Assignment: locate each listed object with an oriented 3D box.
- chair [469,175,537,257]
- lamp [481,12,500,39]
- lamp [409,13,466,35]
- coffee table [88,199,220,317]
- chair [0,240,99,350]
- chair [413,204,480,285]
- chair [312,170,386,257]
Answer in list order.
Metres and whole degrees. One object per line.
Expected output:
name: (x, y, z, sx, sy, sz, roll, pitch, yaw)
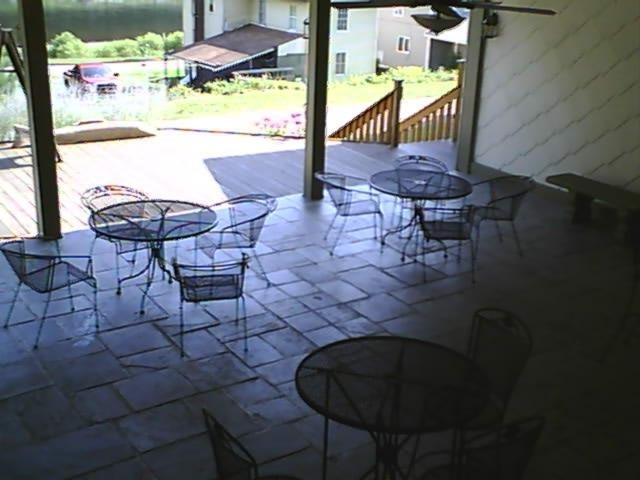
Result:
chair: (2.468, -0.288, 7.975, 0.988, 1.042, 0.844, -7, 41, -3)
lamp: (2.745, -3.545, 9.571, 0.286, 0.432, 0.325, -18, 30, -28)
lamp: (0.930, -1.727, 4.765, 0.254, 0.110, 0.255, -16, 25, -41)
coffee table: (-1.912, 0.174, 6.868, 1.597, 0.933, 1.338, 3, 31, -7)
chair: (-2.720, 0.603, 5.929, 0.739, 0.822, 0.796, -21, 38, -41)
chair: (1.502, 0.090, 7.115, 0.778, 0.852, 0.730, 4, 32, 1)
chair: (0.358, -0.322, 7.953, 1.117, 1.076, 0.908, -7, 33, -5)
